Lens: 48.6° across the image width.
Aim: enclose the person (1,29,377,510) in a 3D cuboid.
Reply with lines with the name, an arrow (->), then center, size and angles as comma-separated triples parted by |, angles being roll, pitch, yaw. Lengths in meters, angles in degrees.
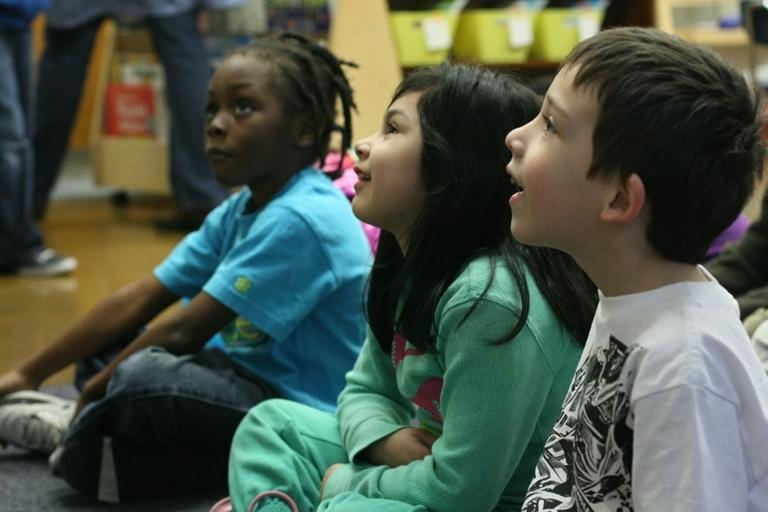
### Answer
person -> -0.361, 0.051, 2.054 | 0.830, 1.015, 0.737 | 5, -2, -17
